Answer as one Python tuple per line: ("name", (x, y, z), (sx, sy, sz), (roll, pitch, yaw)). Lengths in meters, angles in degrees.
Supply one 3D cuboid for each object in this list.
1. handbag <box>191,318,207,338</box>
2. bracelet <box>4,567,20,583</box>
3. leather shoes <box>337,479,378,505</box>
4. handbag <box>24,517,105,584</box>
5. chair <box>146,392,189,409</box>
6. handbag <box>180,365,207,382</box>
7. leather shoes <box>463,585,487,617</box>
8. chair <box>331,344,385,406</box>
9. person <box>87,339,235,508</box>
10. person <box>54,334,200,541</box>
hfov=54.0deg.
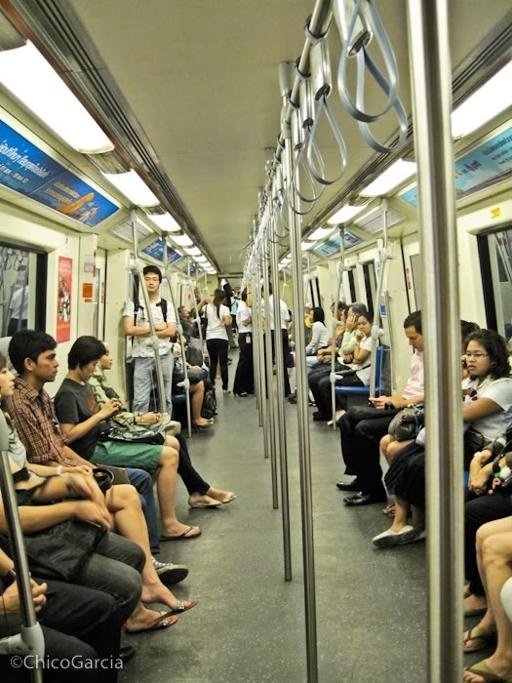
("handbag", (-1.185, -0.300, 10.834), (0.350, 0.485, 0.160), (-1, 6, 11))
("bracelet", (-0.800, 0.775, 1.647), (0.018, 0.056, 0.090), (-2, -4, -36))
("leather shoes", (0.794, 1.237, 4.095), (0.383, 0.159, 0.118), (5, 17, 14))
("handbag", (-0.717, 0.811, 1.986), (0.107, 0.214, 0.275), (-10, 6, 39))
("chair", (-1.086, 0.749, 6.453), (0.275, 0.236, 0.283), (-2, -2, 6))
("handbag", (-0.825, 0.432, 6.615), (0.277, 0.144, 0.364), (1, -4, -3))
("leather shoes", (1.044, 1.234, 2.395), (0.096, 0.100, 0.241), (-5, -4, 23))
("chair", (1.345, 0.545, 6.579), (0.727, 0.901, 0.543), (1, -2, 1))
("person", (-0.736, 0.671, 3.719), (1.057, 1.241, 0.442), (10, 28, 26))
("person", (-0.802, 0.615, 3.255), (0.930, 1.237, 0.535), (3, 4, -2))
